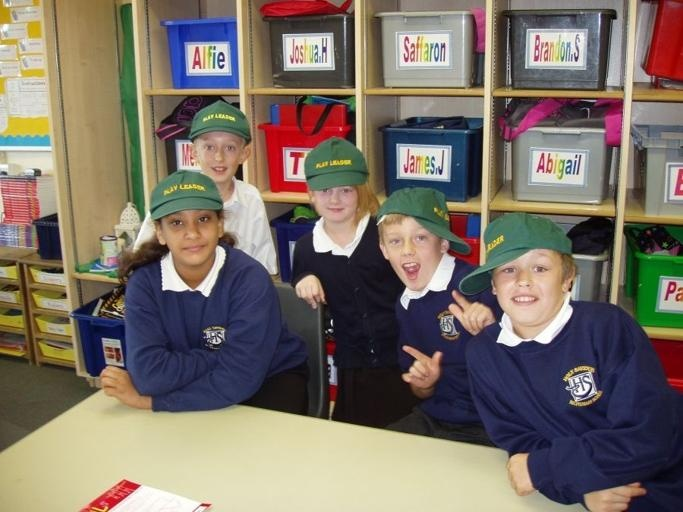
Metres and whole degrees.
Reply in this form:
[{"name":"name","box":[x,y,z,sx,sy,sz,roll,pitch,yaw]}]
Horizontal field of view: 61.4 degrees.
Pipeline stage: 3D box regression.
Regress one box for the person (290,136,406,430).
[{"name":"person","box":[0.086,0.240,2.375,0.545,1.348,0.453,-6,5,-4]}]

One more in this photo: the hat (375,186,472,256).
[{"name":"hat","box":[0.303,-0.159,2.012,0.316,0.171,0.204,15,-5,13]}]

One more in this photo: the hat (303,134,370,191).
[{"name":"hat","box":[-0.021,-0.364,2.312,0.186,0.110,0.248,0,38,1]}]

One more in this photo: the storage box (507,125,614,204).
[{"name":"storage box","box":[1.038,-0.431,2.723,0.386,0.289,0.400,3,10,17]}]

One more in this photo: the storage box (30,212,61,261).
[{"name":"storage box","box":[-1.804,-0.102,3.574,0.201,0.254,0.077,5,16,29]}]

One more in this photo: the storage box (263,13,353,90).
[{"name":"storage box","box":[-0.246,-1.073,3.062,0.548,0.357,0.366,-15,22,-34]}]

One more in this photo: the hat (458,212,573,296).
[{"name":"hat","box":[0.474,-0.025,1.528,0.309,0.158,0.193,-10,-16,15]}]

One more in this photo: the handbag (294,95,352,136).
[{"name":"handbag","box":[-0.107,-0.773,3.024,0.261,0.156,0.252,6,33,3]}]

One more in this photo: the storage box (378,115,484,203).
[{"name":"storage box","box":[0.471,-0.500,3.002,0.469,0.294,0.472,2,13,19]}]

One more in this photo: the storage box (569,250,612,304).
[{"name":"storage box","box":[1.092,0.084,2.526,0.241,0.272,0.200,3,8,24]}]

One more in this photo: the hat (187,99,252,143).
[{"name":"hat","box":[-0.564,-0.616,2.655,0.300,0.189,0.389,-3,2,-21]}]

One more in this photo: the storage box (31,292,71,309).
[{"name":"storage box","box":[-1.846,0.283,3.682,0.200,0.070,0.151,9,7,11]}]

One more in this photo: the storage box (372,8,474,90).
[{"name":"storage box","box":[0.424,-1.007,2.911,0.434,0.268,0.390,2,12,14]}]

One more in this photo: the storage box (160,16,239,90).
[{"name":"storage box","box":[-0.650,-1.113,3.277,0.592,0.366,0.417,8,11,24]}]

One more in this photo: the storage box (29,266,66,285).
[{"name":"storage box","box":[-1.857,0.121,3.660,0.206,0.077,0.156,1,8,12]}]

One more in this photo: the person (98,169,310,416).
[{"name":"person","box":[-0.446,0.112,1.861,0.681,0.736,0.533,0,7,-10]}]

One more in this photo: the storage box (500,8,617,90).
[{"name":"storage box","box":[0.976,-0.944,2.632,0.632,0.417,0.375,4,14,18]}]
